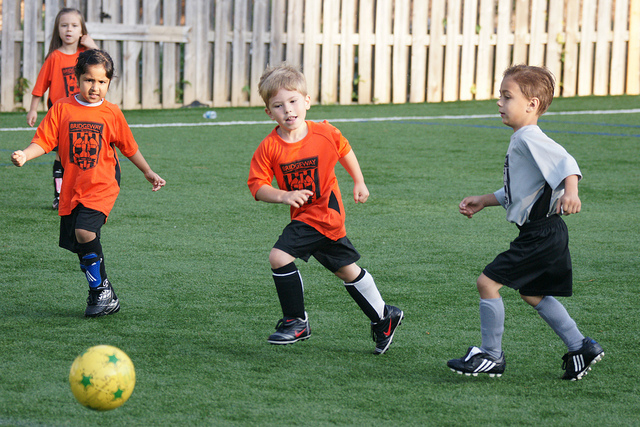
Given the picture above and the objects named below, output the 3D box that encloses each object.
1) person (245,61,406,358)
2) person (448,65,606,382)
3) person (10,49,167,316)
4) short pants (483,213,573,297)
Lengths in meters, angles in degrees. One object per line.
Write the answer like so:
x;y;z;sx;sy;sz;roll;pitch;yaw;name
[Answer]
-0.016;-0.033;5.960;0.898;1.867;0.481;-1;7;-6;person
1.424;-0.011;6.142;0.938;1.941;1.427;2;7;14;person
-1.610;-0.237;6.399;0.860;1.823;0.555;-1;7;-8;person
1.297;0.248;5.749;0.585;0.617;0.324;-8;26;-13;short pants
